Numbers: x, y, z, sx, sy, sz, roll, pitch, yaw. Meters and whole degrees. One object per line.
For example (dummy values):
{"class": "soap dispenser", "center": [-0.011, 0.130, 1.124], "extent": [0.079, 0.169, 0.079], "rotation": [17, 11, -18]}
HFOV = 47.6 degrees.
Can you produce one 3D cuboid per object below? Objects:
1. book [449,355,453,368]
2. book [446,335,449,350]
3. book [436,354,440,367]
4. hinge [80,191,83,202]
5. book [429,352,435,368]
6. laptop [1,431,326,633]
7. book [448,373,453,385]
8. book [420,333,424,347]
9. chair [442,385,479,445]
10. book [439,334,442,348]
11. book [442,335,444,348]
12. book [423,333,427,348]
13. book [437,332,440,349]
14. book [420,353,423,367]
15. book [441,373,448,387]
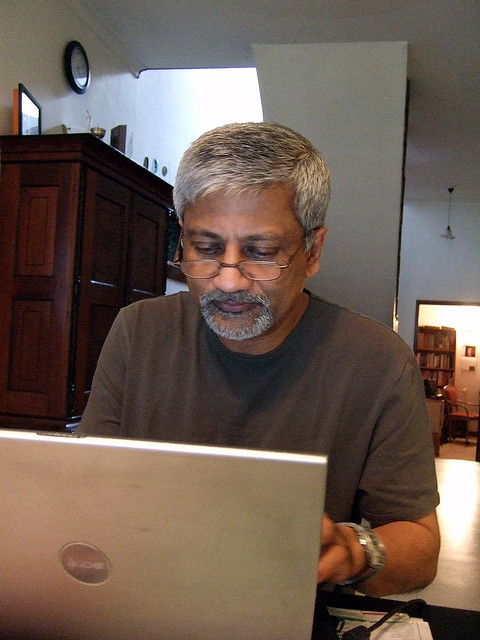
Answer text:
{"class": "book", "center": [3.959, 0.785, 10.228], "extent": [0.055, 0.243, 0.027], "rotation": [2, 0, 19]}
{"class": "book", "center": [3.910, 0.422, 10.274], "extent": [0.047, 0.277, 0.052], "rotation": [2, 0, 15]}
{"class": "book", "center": [3.721, 0.775, 10.251], "extent": [0.063, 0.243, 0.029], "rotation": [1, 0, -32]}
{"class": "hinge", "center": [-0.877, -0.686, 3.032], "extent": [0.003, 0.048, 0.023], "rotation": [2, 0, 17]}
{"class": "book", "center": [3.608, 0.769, 10.244], "extent": [0.057, 0.187, 0.221], "rotation": [7, -5, 7]}
{"class": "laptop", "center": [-0.074, 0.142, 0.571], "extent": [0.328, 0.182, 0.211], "rotation": [3, 5, 3]}
{"class": "book", "center": [3.956, 1.114, 10.224], "extent": [0.065, 0.220, 0.027], "rotation": [1, 0, 4]}
{"class": "book", "center": [3.466, 0.405, 10.367], "extent": [0.047, 0.153, 0.183], "rotation": [6, 13, 13]}
{"class": "chair", "center": [3.822, 1.641, 9.448], "extent": [0.590, 1.022, 1.572], "rotation": [1, 0, 21]}
{"class": "book", "center": [3.792, 0.406, 10.303], "extent": [0.047, 0.256, 0.051], "rotation": [2, 0, 14]}
{"class": "book", "center": [3.835, 0.411, 10.294], "extent": [0.028, 0.237, 0.043], "rotation": [2, 0, 7]}
{"class": "book", "center": [3.517, 0.396, 10.356], "extent": [0.068, 0.281, 0.065], "rotation": [2, 0, 14]}
{"class": "book", "center": [3.740, 0.395, 10.304], "extent": [0.047, 0.160, 0.160], "rotation": [1, -20, 13]}
{"class": "book", "center": [3.418, 0.762, 10.283], "extent": [0.050, 0.264, 0.101], "rotation": [2, 0, 21]}
{"class": "book", "center": [3.837, 1.139, 10.244], "extent": [0.114, 0.268, 0.044], "rotation": [1, 0, -12]}
